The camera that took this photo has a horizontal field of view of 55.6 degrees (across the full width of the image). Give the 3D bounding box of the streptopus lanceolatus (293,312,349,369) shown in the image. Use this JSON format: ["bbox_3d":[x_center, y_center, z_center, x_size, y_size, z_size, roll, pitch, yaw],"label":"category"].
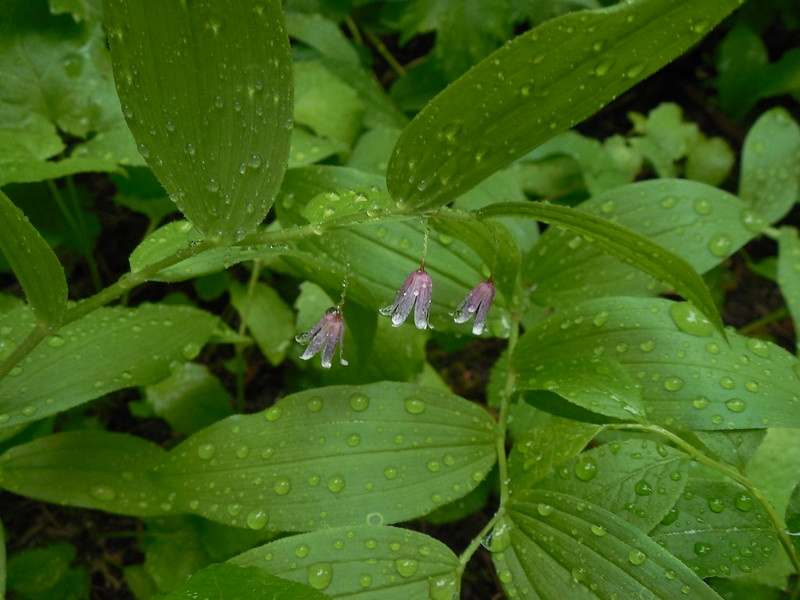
[{"bbox_3d":[-0.154,0.090,1.483,0.104,0.041,0.118,19,67,-2],"label":"streptopus lanceolatus"}]

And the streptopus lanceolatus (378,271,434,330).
[{"bbox_3d":[0.024,0.000,1.425,0.066,0.042,0.113,14,72,8],"label":"streptopus lanceolatus"}]

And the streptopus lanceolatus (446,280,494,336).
[{"bbox_3d":[0.141,0.006,1.490,0.069,0.033,0.117,23,97,8],"label":"streptopus lanceolatus"}]
